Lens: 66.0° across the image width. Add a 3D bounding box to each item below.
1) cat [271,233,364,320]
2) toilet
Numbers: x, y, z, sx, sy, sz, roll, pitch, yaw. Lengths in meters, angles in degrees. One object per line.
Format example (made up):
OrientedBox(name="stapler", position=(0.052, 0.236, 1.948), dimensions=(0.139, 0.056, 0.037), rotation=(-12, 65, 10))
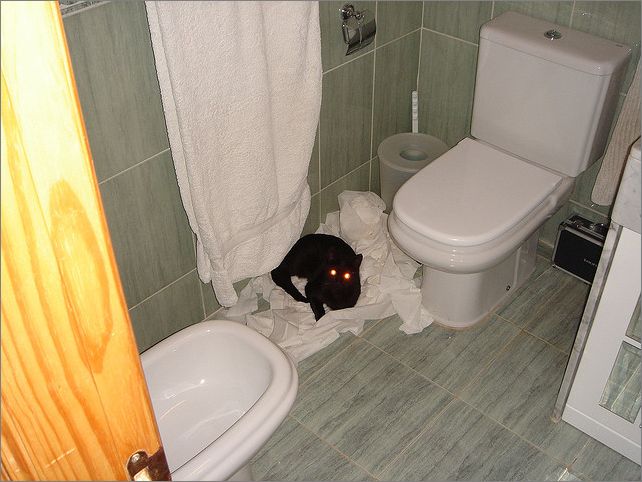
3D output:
OrientedBox(name="cat", position=(0.019, 0.117, 1.938), dimensions=(0.363, 0.180, 0.417), rotation=(-4, 32, -33))
OrientedBox(name="toilet", position=(0.604, -0.173, 1.789), dimensions=(0.799, 0.925, 0.456), rotation=(-36, 49, -27))
